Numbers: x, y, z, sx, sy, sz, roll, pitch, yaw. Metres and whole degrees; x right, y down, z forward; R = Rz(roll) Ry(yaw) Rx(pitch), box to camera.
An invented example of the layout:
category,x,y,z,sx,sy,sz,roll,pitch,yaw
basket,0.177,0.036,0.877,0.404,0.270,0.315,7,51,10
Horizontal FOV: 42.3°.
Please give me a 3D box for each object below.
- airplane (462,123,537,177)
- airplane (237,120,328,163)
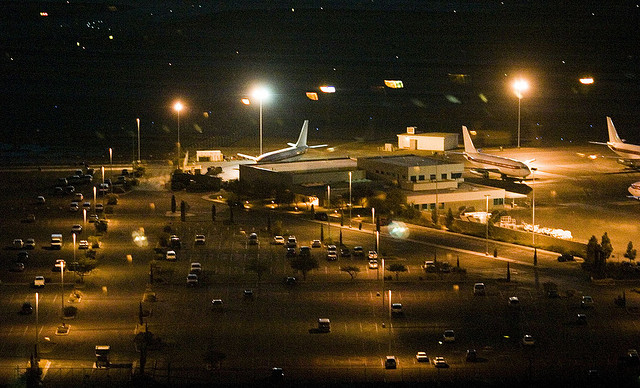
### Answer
category,x,y,z,sx,sy,sz,roll,pitch,yaw
airplane,25.810,-4.595,116.996,8.105,3.705,9.258,-7,16,-31
airplane,-4.797,-7.505,122.894,5.444,5.710,15.495,3,14,14
